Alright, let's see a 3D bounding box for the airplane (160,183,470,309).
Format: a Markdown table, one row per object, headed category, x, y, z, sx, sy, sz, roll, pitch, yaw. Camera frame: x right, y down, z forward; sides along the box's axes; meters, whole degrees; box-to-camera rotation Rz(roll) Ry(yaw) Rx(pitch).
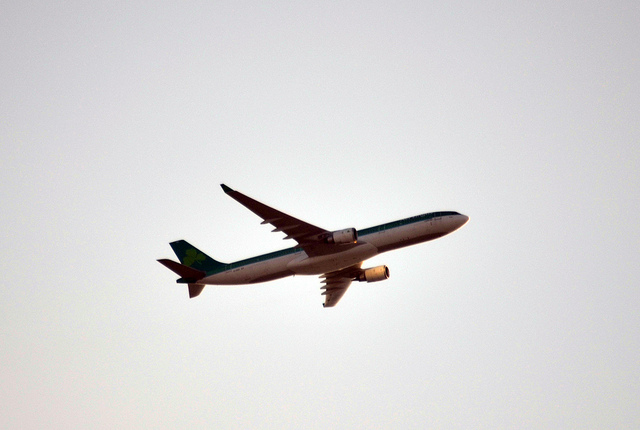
| category | x | y | z | sx | sy | sz | roll | pitch | yaw |
| --- | --- | --- | --- | --- | --- | --- | --- | --- | --- |
| airplane | -0.193 | 2.198 | 55.986 | 11.308 | 2.864 | 11.063 | -14 | -43 | 7 |
